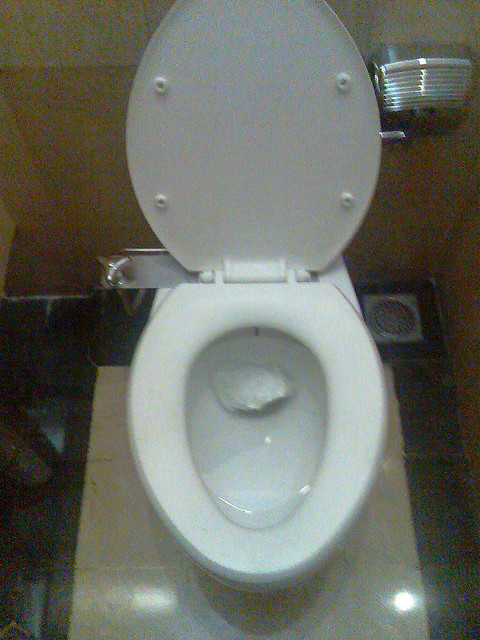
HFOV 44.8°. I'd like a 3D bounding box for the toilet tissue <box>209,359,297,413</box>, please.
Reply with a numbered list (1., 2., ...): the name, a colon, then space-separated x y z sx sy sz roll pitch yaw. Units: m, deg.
1. toilet tissue: 0.022 0.115 0.994 0.133 0.052 0.124 3 29 10
